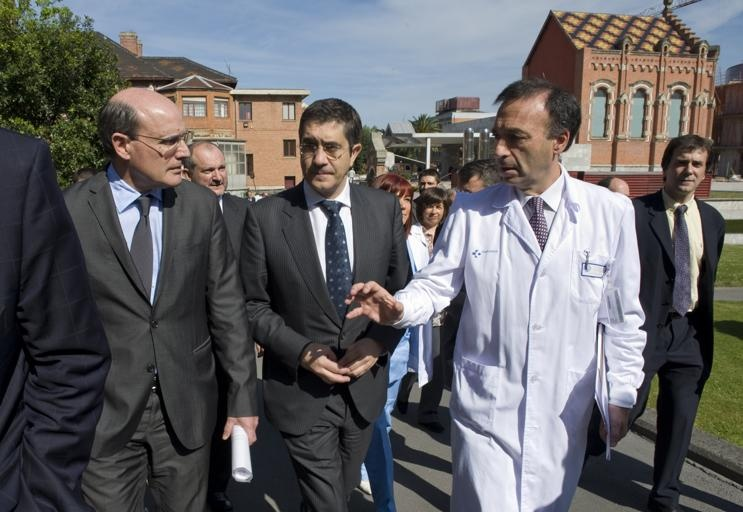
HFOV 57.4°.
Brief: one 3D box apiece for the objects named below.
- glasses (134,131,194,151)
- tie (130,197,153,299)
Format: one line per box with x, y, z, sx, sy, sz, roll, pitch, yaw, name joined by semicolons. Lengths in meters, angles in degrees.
-1.342;-0.736;4.270;0.224;0.070;0.221;2;8;21;glasses
-1.425;-0.040;4.208;0.099;0.704;0.085;0;-15;-10;tie
